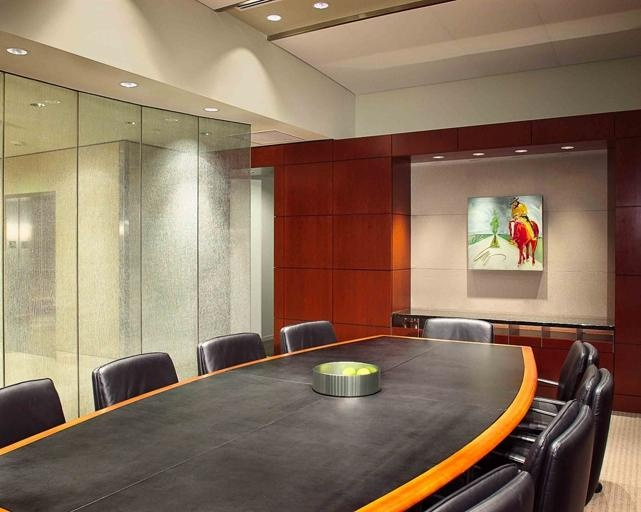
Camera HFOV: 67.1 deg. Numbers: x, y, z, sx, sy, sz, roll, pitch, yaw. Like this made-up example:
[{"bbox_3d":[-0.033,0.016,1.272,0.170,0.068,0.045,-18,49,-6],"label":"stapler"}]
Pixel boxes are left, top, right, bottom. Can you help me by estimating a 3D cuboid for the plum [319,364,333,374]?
[{"bbox_3d":[0.033,0.706,3.031,0.058,0.044,0.060,0,-2,0],"label":"plum"}]
